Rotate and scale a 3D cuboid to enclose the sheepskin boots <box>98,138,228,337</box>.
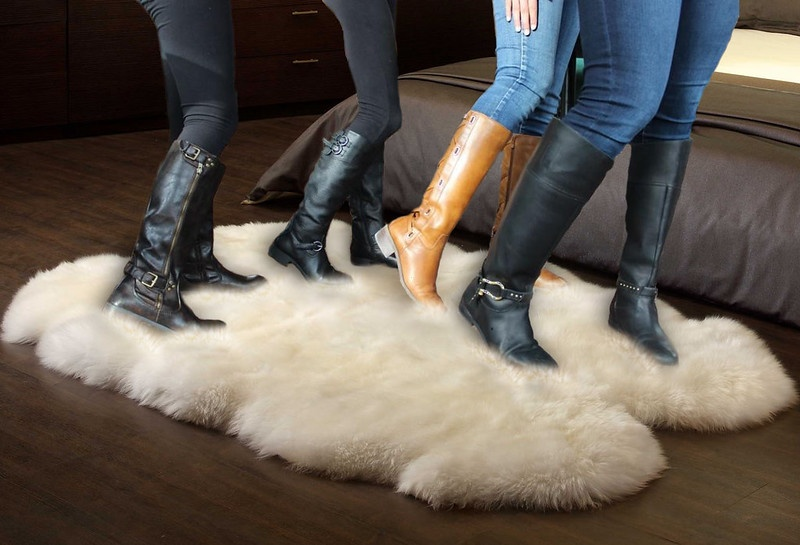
[{"bbox_3d":[-0.593,-0.087,1.721,0.377,0.467,0.222,18,-7,-44],"label":"sheepskin boots"}]

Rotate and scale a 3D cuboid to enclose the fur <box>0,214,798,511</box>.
[{"bbox_3d":[-0.066,0.232,1.562,1.176,0.088,0.887,11,15,30],"label":"fur"}]

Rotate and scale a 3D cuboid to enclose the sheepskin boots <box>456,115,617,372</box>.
[{"bbox_3d":[0.371,-0.067,1.620,0.204,0.587,0.376,5,25,-32],"label":"sheepskin boots"}]
